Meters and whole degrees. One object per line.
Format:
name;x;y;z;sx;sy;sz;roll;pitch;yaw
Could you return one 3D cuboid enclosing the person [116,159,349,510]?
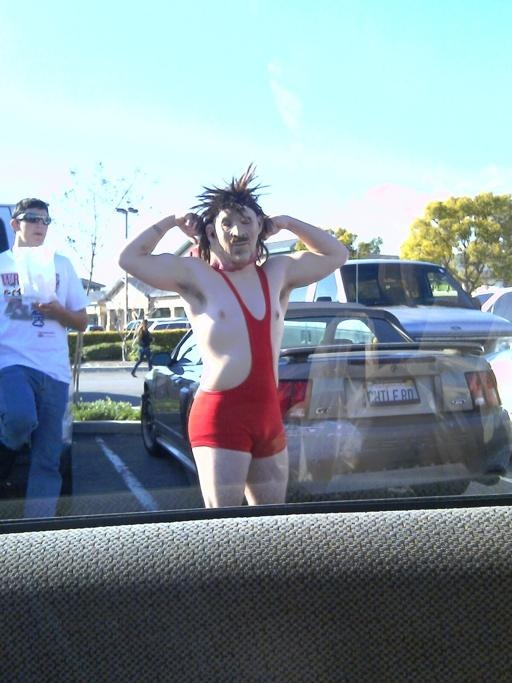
person;-0.037;0.032;1.440;0.365;0.923;0.652;12;17;43
